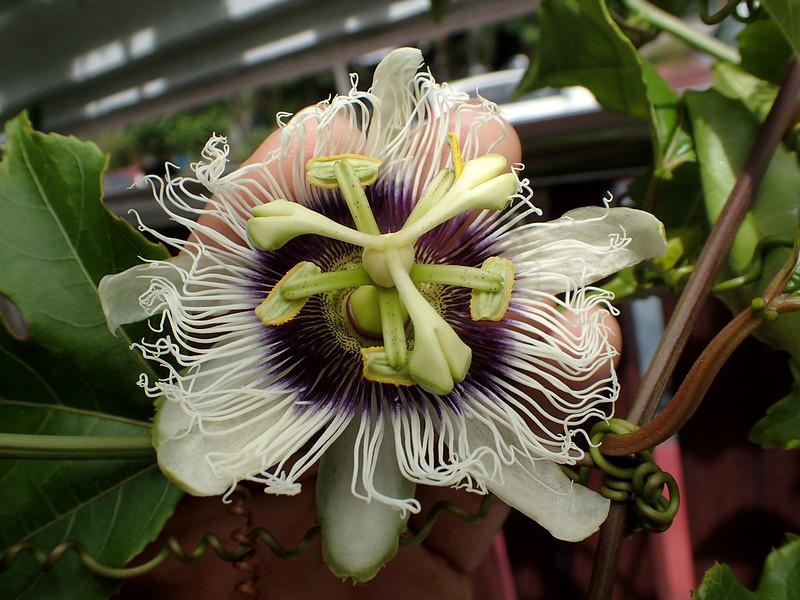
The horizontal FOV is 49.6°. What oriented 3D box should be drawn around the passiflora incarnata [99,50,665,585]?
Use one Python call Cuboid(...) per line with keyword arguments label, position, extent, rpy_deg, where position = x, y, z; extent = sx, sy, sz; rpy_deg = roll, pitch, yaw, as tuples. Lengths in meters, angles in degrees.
Cuboid(label="passiflora incarnata", position=(-0.009, 0.068, 1.132), extent=(0.620, 0.576, 0.571), rpy_deg=(13, 48, 25))
